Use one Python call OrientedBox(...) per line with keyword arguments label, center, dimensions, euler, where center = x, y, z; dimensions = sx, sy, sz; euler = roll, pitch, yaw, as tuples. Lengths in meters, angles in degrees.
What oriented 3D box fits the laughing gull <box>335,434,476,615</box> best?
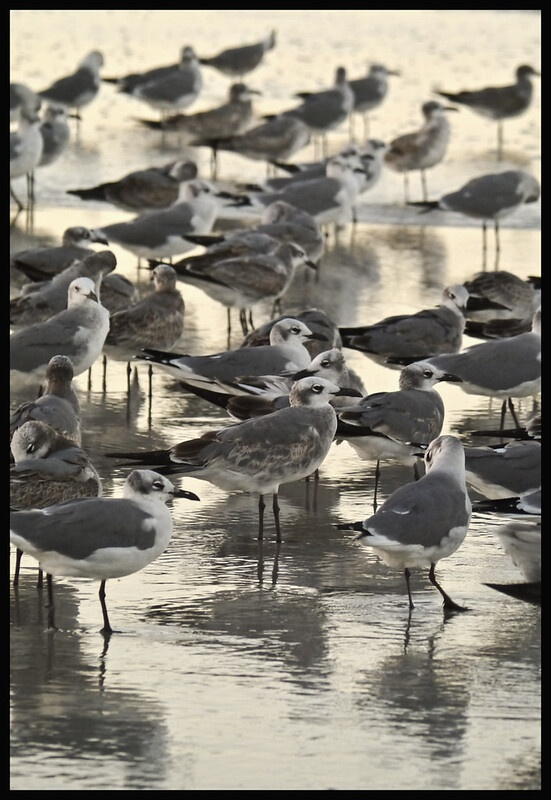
OrientedBox(label="laughing gull", center=(0.811, 0.730, 7.185), dimensions=(0.580, 0.913, 1.024), euler=(6, 12, 21))
